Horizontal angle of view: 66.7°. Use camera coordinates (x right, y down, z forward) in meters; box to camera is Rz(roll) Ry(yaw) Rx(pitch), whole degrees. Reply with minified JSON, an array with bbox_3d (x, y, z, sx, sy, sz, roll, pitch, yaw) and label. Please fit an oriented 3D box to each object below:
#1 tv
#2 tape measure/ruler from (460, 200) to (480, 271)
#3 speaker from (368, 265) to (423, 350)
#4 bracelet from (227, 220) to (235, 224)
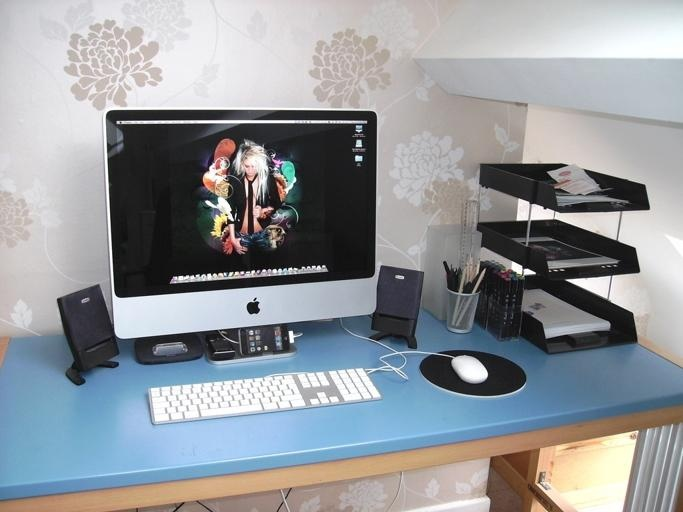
[{"bbox_3d":[-0.294,-0.071,1.424,0.668,0.589,0.199,-4,10,-19],"label":"tv"},{"bbox_3d":[0.429,-0.071,1.746,0.064,0.295,0.014,7,43,18],"label":"tape measure/ruler"},{"bbox_3d":[0.180,0.146,1.635,0.158,0.225,0.143,8,12,21],"label":"speaker"},{"bbox_3d":[-0.303,-0.093,1.421,0.020,0.010,0.002,-2,8,-12],"label":"bracelet"}]
